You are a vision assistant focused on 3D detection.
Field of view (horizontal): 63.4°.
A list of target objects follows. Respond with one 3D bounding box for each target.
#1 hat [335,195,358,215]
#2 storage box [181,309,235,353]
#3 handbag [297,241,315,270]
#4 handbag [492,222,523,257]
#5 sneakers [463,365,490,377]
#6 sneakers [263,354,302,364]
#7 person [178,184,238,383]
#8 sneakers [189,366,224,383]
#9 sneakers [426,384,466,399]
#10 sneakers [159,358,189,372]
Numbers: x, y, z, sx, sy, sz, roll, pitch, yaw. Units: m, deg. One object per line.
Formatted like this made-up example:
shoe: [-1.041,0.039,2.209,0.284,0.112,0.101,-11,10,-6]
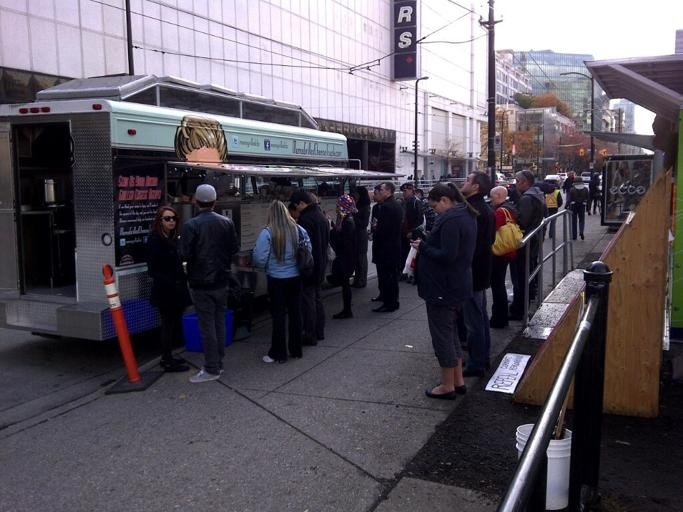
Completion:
hat: [0.088,-0.926,9.642,0.336,0.305,0.271,29,25,5]
storage box: [-1.940,0.987,7.951,0.697,0.691,0.574,5,16,1]
handbag: [-0.445,0.010,7.161,0.141,0.391,0.292,2,9,30]
handbag: [2.417,-0.315,7.794,0.195,0.397,0.392,-27,-3,-14]
sneakers: [1.590,1.328,6.419,0.383,0.117,0.156,-5,9,-16]
sneakers: [-0.780,1.328,7.230,0.518,0.095,0.221,-3,9,-6]
person: [-1.592,0.320,6.675,0.544,2.316,0.648,1,8,20]
sneakers: [-1.629,1.437,6.680,0.360,0.168,0.149,3,-1,-4]
sneakers: [1.109,1.472,5.862,0.252,0.089,0.191,1,0,26]
sneakers: [-2.098,1.386,7.017,0.403,0.173,0.153,0,18,-6]
